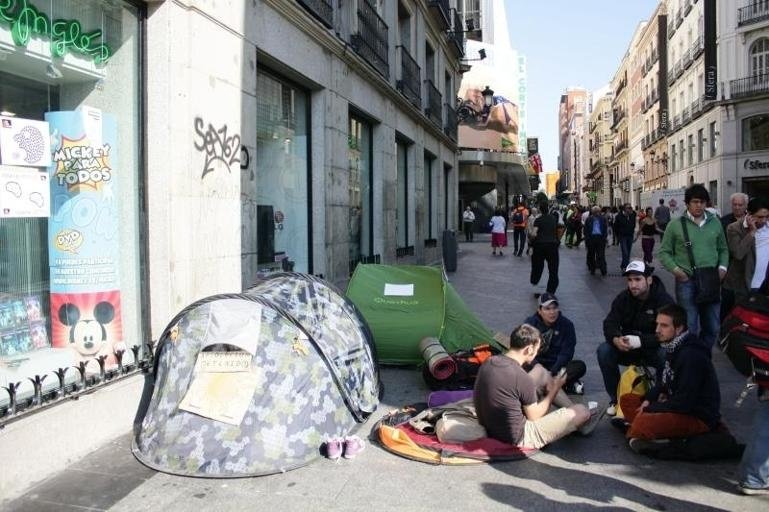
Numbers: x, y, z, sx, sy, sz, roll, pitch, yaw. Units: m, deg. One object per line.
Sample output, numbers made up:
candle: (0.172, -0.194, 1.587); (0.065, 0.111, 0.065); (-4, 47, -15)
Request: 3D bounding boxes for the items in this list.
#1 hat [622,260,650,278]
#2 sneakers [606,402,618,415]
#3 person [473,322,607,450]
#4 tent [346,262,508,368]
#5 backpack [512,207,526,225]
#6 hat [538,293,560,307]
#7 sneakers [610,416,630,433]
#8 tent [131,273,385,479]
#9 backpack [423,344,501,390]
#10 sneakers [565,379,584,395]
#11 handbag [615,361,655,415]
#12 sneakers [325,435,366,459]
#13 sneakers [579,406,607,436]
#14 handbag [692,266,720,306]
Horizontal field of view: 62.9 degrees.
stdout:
hat: (3.058, 0.101, 7.578); (0.344, 0.194, 0.240); (19, -24, -38)
sneakers: (2.664, 1.785, 7.357); (0.062, 0.078, 0.181); (3, 16, 24)
person: (1.549, 1.298, 6.904); (1.377, 1.284, 1.094); (-14, 24, -29)
tent: (0.395, 0.798, 9.338); (1.308, 0.858, 1.909); (-1, 7, -10)
backpack: (5.140, -1.533, 24.028); (0.647, 0.917, 0.456); (1, -1, 11)
hat: (2.021, 0.542, 7.877); (0.145, 0.131, 0.215); (0, -2, -10)
sneakers: (2.609, 1.868, 6.967); (0.099, 0.104, 0.246); (-10, 44, -34)
tent: (-1.212, 1.382, 6.981); (1.566, 0.978, 2.316); (6, 11, 18)
backpack: (0.992, 1.488, 8.317); (0.726, 0.316, 0.692); (-4, 1, -3)
sneakers: (2.430, 1.662, 7.996); (0.127, 0.120, 0.297); (18, -13, -17)
handbag: (2.837, 1.504, 7.126); (0.465, 0.781, 0.368); (1, -3, 13)
sneakers: (-0.418, 1.962, 6.443); (0.179, 0.136, 0.341); (3, 6, 24)
sneakers: (2.278, 1.812, 6.897); (0.116, 0.165, 0.366); (8, 44, 46)
handbag: (4.160, 0.372, 8.101); (0.299, 0.460, 0.151); (1, -7, 0)
